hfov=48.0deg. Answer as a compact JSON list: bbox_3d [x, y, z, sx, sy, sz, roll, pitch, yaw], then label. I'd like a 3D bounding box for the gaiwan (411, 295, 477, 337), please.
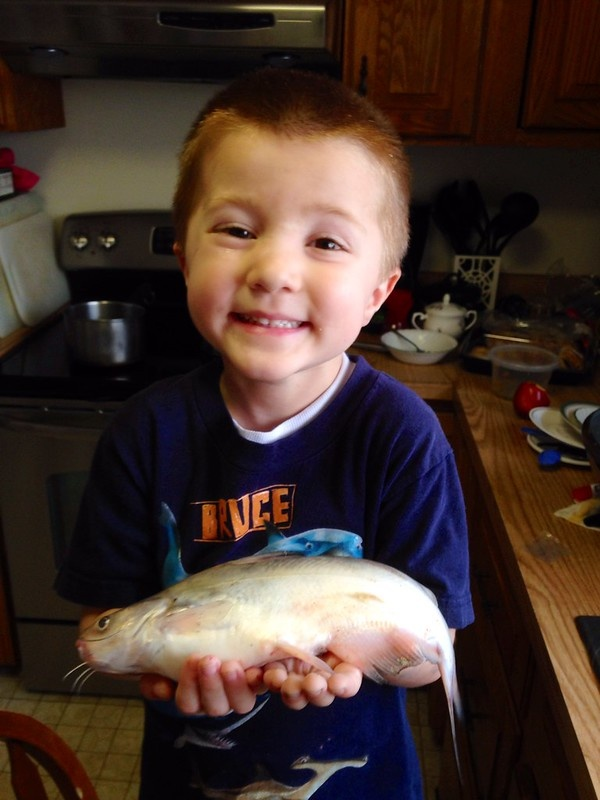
[{"bbox_3d":[0.429,-0.249,2.038,0.197,0.121,0.114,-4,33,-7],"label":"gaiwan"}]

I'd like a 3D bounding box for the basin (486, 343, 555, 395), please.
[{"bbox_3d":[0.551,-0.084,1.658,0.140,0.083,0.134,7,24,-3],"label":"basin"}]

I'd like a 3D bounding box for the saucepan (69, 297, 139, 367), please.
[{"bbox_3d":[-0.518,-0.168,1.770,0.218,0.148,0.213,-1,12,-6],"label":"saucepan"}]

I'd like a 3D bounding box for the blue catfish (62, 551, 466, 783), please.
[{"bbox_3d":[-0.017,0.196,0.587,0.404,0.097,0.160,-12,54,14],"label":"blue catfish"}]
